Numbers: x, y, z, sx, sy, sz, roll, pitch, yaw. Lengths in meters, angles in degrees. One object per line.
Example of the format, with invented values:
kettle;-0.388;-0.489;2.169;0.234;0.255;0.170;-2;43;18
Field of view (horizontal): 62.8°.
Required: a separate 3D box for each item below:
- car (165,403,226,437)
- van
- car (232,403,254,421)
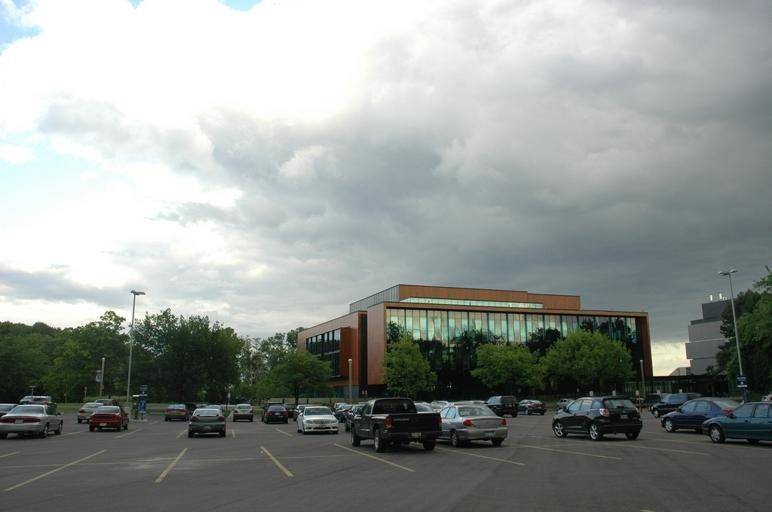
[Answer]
car;-10.481;9.834;37.330;1.967;1.645;1.367;1;-15;-8
van;10.946;8.340;33.603;2.369;1.614;4.227;6;-10;-25
car;-13.943;15.345;61.958;1.814;1.721;2.716;3;-15;-15
